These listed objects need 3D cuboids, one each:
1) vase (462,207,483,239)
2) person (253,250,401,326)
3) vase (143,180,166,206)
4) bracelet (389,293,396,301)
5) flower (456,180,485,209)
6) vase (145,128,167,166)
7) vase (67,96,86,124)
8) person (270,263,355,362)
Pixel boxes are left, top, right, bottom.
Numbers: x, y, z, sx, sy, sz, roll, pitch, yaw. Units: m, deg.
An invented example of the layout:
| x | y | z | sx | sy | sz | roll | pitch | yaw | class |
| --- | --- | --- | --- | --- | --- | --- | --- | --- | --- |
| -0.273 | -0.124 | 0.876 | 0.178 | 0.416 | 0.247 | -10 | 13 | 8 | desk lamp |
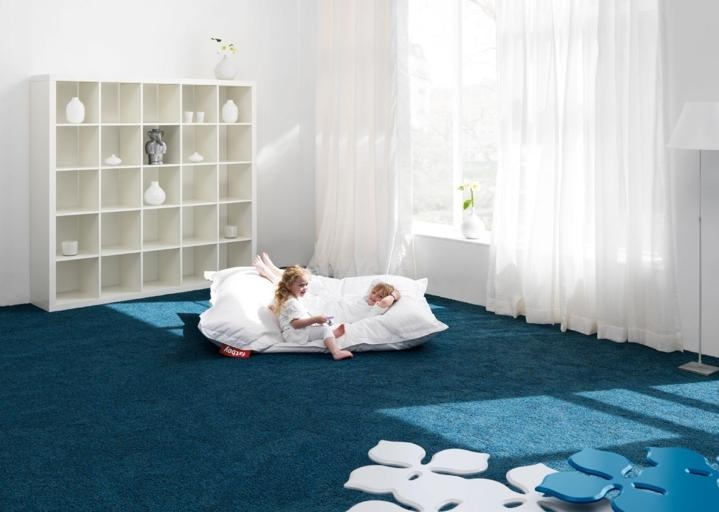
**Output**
| x | y | z | sx | sy | sz | roll | pitch | yaw | class |
| --- | --- | --- | --- | --- | --- | --- | --- | --- | --- |
| 1.148 | -0.345 | 5.418 | 0.219 | 0.295 | 0.406 | 4 | 13 | 13 | vase |
| -0.245 | 0.256 | 4.372 | 1.147 | 0.383 | 0.595 | 3 | 11 | -2 | person |
| -2.063 | -0.617 | 5.267 | 0.267 | 0.248 | 0.254 | 6 | 10 | 27 | vase |
| 0.255 | 0.319 | 4.175 | 0.051 | 0.033 | 0.049 | 4 | 14 | 24 | bracelet |
| 1.102 | -0.606 | 5.389 | 0.304 | 0.340 | 0.274 | 5 | 23 | 28 | flower |
| -2.028 | -1.083 | 5.327 | 0.202 | 0.341 | 0.358 | -4 | 13 | -20 | vase |
| -2.562 | -1.296 | 4.814 | 0.139 | 0.231 | 0.138 | -10 | 17 | -41 | vase |
| -0.332 | 0.419 | 4.047 | 0.752 | 0.609 | 0.478 | 3 | 0 | 24 | person |
